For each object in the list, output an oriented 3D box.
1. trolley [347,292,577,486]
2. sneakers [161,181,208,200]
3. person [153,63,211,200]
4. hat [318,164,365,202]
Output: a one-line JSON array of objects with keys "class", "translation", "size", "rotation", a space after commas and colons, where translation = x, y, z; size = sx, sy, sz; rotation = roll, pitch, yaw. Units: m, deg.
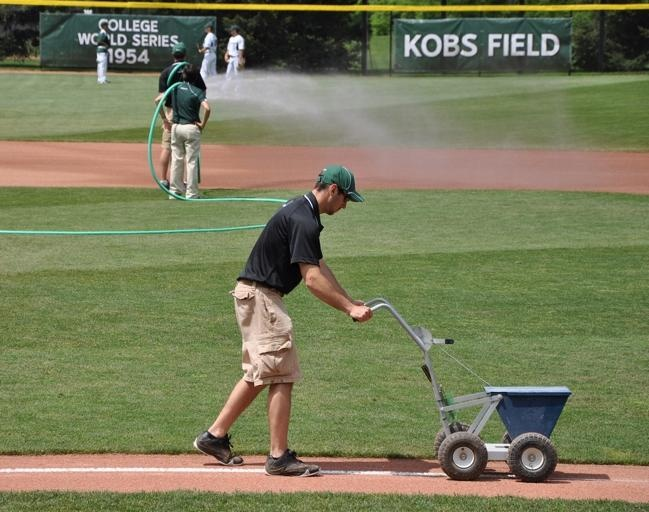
[{"class": "trolley", "translation": [1.940, 1.908, 22.539], "size": [2.900, 2.264, 1.826], "rotation": [4, 1, -6]}, {"class": "sneakers", "translation": [-2.667, -1.233, 30.202], "size": [0.656, 0.268, 0.211], "rotation": [14, 15, -33]}, {"class": "person", "translation": [-2.512, -2.250, 29.483], "size": [0.764, 2.477, 1.212], "rotation": [-1, 7, -6]}, {"class": "hat", "translation": [0.228, -1.036, 22.177], "size": [0.720, 0.370, 0.452], "rotation": [19, 1, -12]}]
